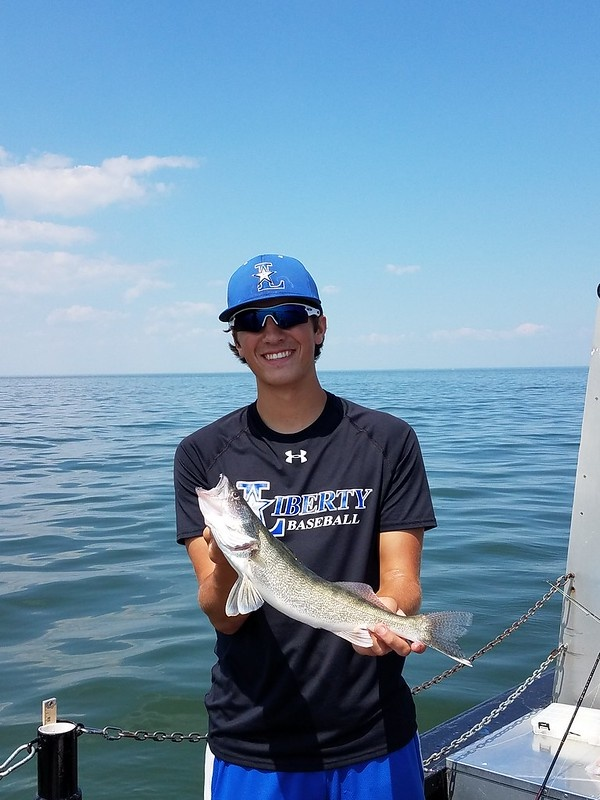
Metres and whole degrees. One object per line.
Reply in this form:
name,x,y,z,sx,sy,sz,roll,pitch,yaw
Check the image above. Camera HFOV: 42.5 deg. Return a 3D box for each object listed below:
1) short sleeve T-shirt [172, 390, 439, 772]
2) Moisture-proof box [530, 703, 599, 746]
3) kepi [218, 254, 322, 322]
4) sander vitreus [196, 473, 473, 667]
short sleeve T-shirt,0.010,0.655,2.781,0.644,1.411,0.670,-1,2,-5
Moisture-proof box,1.474,1.769,4.215,0.351,0.131,0.238,0,4,35
kepi,-0.117,-0.471,3.082,0.370,0.232,0.505,-9,5,-2
sander vitreus,0.087,0.547,2.544,0.877,0.571,0.233,-2,4,6
